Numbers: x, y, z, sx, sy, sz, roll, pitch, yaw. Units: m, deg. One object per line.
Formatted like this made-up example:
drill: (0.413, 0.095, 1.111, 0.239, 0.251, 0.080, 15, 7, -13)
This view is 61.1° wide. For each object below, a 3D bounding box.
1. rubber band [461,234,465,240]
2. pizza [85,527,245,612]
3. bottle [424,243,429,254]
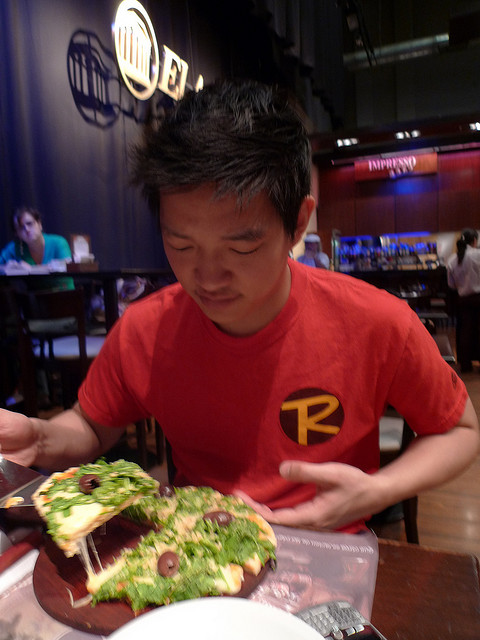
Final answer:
rubber band: (3.631, -1.327, 6.592, 0.021, 0.111, 0.064, 5, -9, -26)
pizza: (-0.088, 0.304, 0.492, 0.096, 0.029, 0.116, 5, 12, 11)
bottle: (4.437, -1.660, 9.602, 0.081, 0.255, 0.330, -1, 1, 25)
